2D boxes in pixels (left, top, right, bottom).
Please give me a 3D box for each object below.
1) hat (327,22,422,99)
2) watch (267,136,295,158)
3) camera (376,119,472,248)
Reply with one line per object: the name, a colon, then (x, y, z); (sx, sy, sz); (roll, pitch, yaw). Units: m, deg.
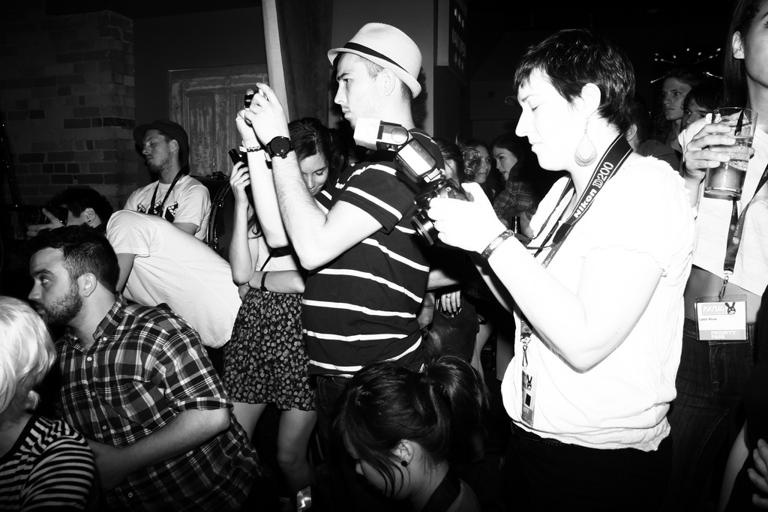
hat: (-0.019, -0.902, 2.457); (0.354, 0.134, 0.291); (26, 15, 14)
watch: (-0.425, -0.450, 2.338); (0.092, 0.079, 0.091); (-6, 6, -2)
camera: (0.094, -0.229, 2.027); (0.143, 0.409, 0.387); (-26, -31, 16)
